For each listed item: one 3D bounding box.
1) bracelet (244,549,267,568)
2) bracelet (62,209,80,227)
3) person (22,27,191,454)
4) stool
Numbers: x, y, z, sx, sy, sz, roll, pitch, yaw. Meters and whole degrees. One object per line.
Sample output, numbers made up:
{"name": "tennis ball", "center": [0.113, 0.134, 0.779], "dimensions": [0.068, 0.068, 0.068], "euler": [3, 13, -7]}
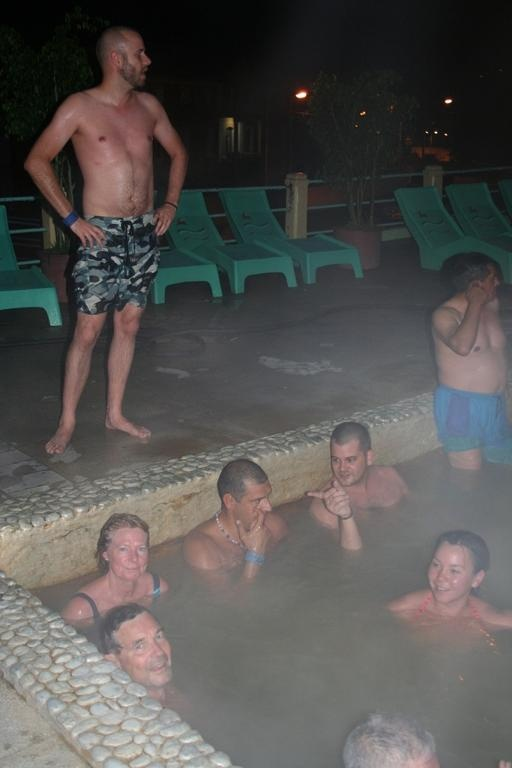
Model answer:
{"name": "bracelet", "center": [-0.007, 0.752, 2.852], "dimensions": [0.079, 0.051, 0.077], "euler": [5, 2, 20]}
{"name": "bracelet", "center": [-0.914, -0.814, 3.230], "dimensions": [0.072, 0.033, 0.085], "euler": [-32, 10, 13]}
{"name": "person", "center": [-0.764, -0.704, 3.469], "dimensions": [0.836, 2.085, 0.451], "euler": [-5, 12, -20]}
{"name": "stool", "center": [-0.810, -1.258, 7.301], "dimensions": [0.712, 0.286, 0.671], "euler": [-4, 30, -11]}
